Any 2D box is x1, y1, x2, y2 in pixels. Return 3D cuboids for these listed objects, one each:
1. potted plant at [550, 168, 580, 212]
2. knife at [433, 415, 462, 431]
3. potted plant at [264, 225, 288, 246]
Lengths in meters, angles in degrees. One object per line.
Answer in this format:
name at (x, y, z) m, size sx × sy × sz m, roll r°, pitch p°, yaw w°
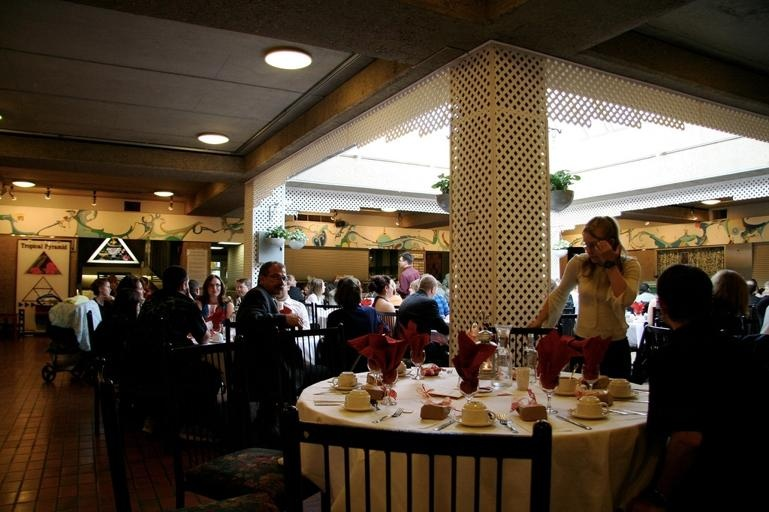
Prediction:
potted plant at (2.109, -0.799, 6.824) m, size 0.307 × 0.511 × 0.757 m, roll 1°, pitch -2°, yaw 18°
knife at (0.354, 0.972, 3.317) m, size 0.049 × 0.015 × 0.347 m, roll 3°, pitch 2°, yaw 29°
potted plant at (-1.950, -0.382, 10.232) m, size 0.407 × 0.347 × 0.404 m, roll 2°, pitch -2°, yaw -10°
